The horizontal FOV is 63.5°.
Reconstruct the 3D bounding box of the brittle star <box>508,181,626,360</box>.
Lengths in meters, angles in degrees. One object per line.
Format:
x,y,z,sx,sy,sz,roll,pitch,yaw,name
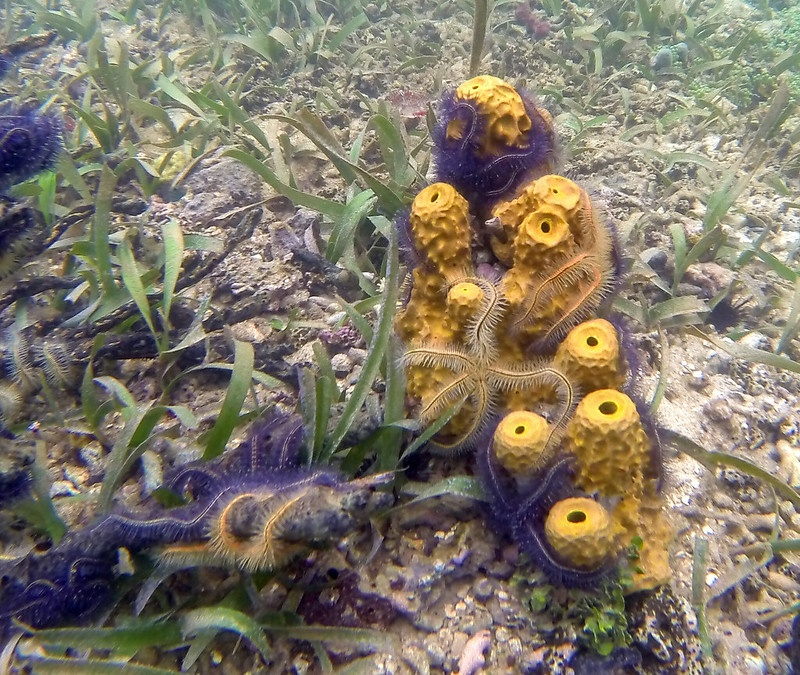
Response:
0.692,-0.293,2.873,0.485,0.201,0.738,22,86,-8,brittle star

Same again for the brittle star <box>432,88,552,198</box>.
0.426,-0.919,3.061,0.535,0.441,0.373,16,51,-2,brittle star
